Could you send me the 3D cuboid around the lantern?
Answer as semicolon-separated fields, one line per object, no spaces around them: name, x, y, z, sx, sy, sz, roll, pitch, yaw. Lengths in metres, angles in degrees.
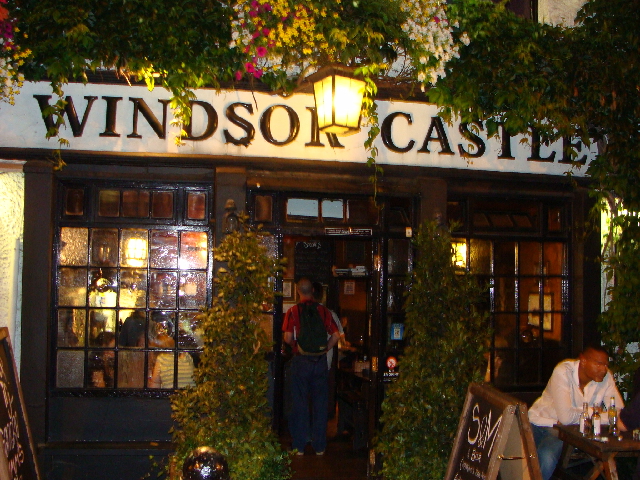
lantern;0.166;-1.218;7.465;0.482;0.508;0.456;2;-2;-24

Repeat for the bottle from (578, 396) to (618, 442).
bottle;2.555;1.662;7.715;0.270;0.334;0.298;2;-6;-16

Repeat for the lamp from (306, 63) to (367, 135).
lamp;0.159;-1.229;7.447;0.555;0.512;0.576;-4;-6;41
